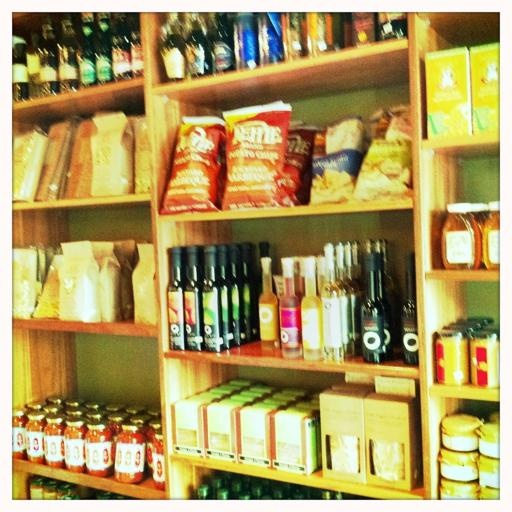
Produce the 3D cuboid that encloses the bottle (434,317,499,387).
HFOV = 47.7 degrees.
[{"bbox_3d":[0.541,0.251,1.475,0.188,0.173,0.109,-6,-5,39],"label":"bottle"}]

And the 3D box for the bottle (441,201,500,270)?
[{"bbox_3d":[0.550,-0.054,1.473,0.165,0.178,0.115,0,-2,34],"label":"bottle"}]
